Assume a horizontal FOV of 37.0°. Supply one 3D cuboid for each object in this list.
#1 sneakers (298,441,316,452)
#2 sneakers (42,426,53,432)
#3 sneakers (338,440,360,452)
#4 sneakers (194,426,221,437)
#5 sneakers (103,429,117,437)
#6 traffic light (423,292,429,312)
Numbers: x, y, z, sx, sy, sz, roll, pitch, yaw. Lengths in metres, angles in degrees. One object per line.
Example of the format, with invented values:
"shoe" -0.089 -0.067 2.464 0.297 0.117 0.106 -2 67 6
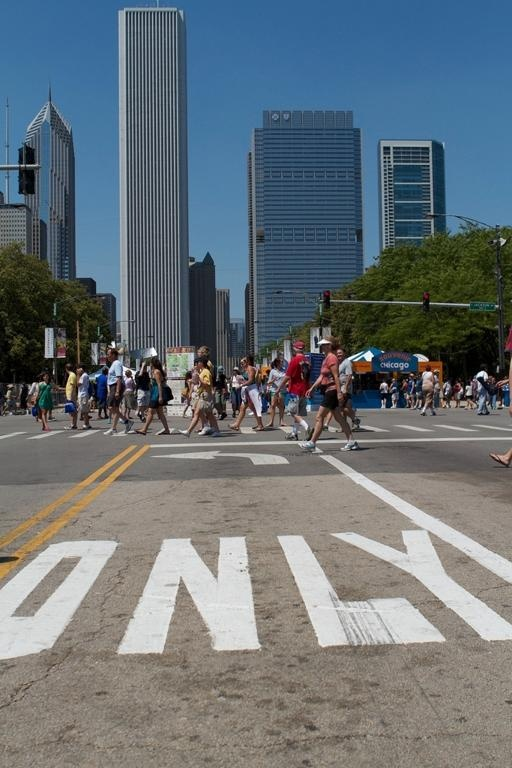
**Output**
"sneakers" 0.891 1.040 12.800 0.157 0.137 0.346 -21 -18 21
"sneakers" -6.120 1.336 22.573 0.158 0.232 0.526 0 -6 -33
"sneakers" 1.661 1.075 13.254 0.407 0.211 0.167 1 -2 -42
"sneakers" -1.094 1.103 17.774 0.563 0.298 0.207 5 -3 -3
"sneakers" -3.739 1.248 19.392 0.367 0.184 0.164 3 2 28
"traffic light" 8.254 -4.034 37.226 0.245 0.839 0.843 0 3 4
